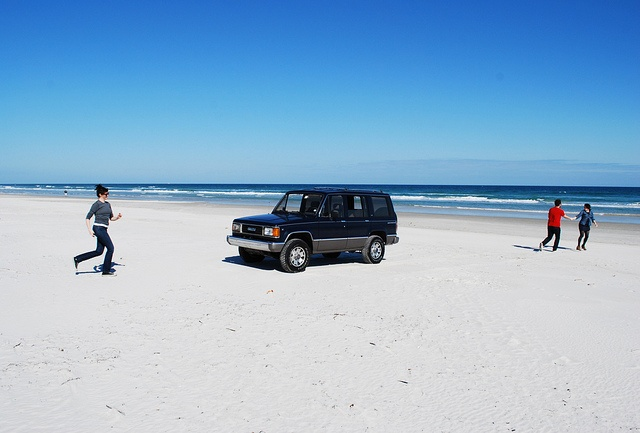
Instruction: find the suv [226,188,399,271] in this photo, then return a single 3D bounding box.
[{"bbox_3d":[-0.154,0.363,12.879,4.699,1.765,2.592,2,-2,-37],"label":"suv"}]
